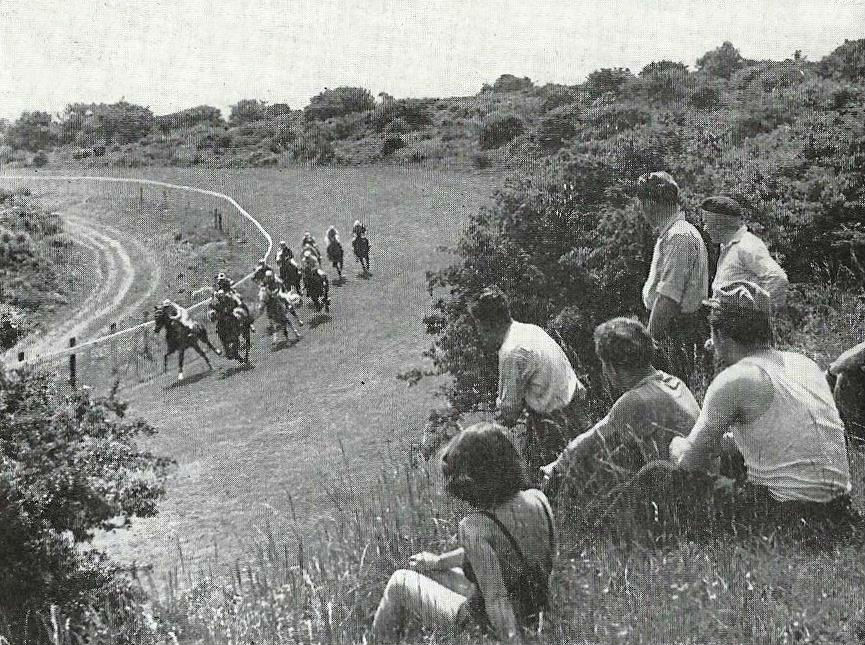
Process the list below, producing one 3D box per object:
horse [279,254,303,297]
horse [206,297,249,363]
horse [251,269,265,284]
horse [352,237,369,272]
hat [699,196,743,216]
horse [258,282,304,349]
[{"bbox_3d":[-3.668,-1.245,29.287,0.338,1.350,0.736,-8,-6,17],"label":"horse"},{"bbox_3d":[-4.735,-0.036,25.748,0.648,1.557,2.621,0,-1,8],"label":"horse"},{"bbox_3d":[-4.142,-1.174,27.457,0.228,0.394,0.668,5,8,13],"label":"horse"},{"bbox_3d":[-2.013,-1.867,31.894,0.298,1.136,0.642,-3,31,-4],"label":"horse"},{"bbox_3d":[3.577,-1.458,14.136,0.340,0.133,0.257,21,10,28],"label":"hat"},{"bbox_3d":[-3.548,-0.225,27.280,0.374,1.133,1.651,9,26,14],"label":"horse"}]
